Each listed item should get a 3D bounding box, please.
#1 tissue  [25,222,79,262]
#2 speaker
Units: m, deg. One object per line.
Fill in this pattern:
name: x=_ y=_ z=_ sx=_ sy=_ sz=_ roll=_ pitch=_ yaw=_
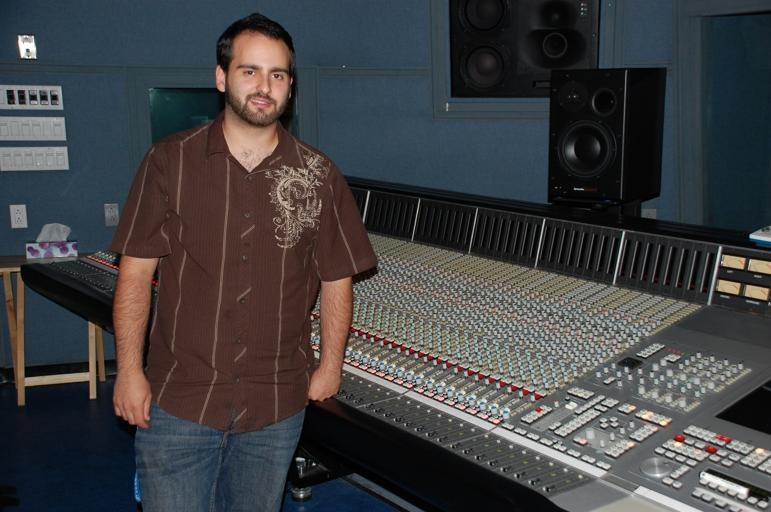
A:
tissue : x=-2.550 y=-0.103 z=4.384 sx=0.326 sy=0.261 sz=0.337 roll=-5 pitch=10 yaw=-31
speaker: x=1.205 y=-0.715 z=3.581 sx=0.835 sy=1.006 sz=0.613 roll=2 pitch=8 yaw=16
